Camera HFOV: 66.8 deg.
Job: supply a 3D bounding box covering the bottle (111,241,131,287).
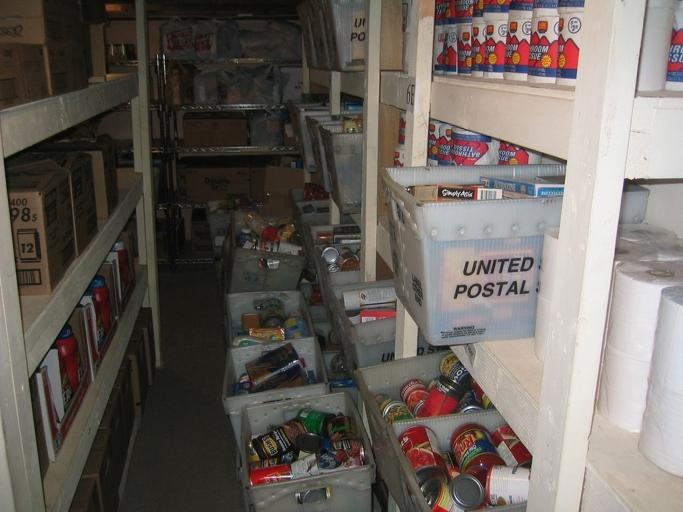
[{"bbox_3d":[-0.995,0.038,2.329,0.095,0.222,0.101,7,35,-5],"label":"bottle"}]
